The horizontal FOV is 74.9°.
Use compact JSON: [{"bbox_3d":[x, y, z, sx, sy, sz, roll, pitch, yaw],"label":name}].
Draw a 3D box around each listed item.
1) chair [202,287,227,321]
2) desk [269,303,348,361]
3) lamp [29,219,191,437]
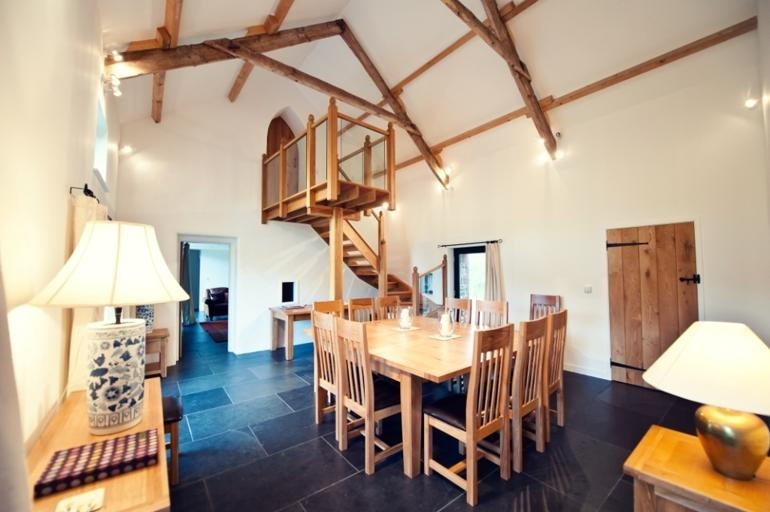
[{"bbox_3d":[-3.877,1.060,11.530,0.631,0.712,0.639,2,-6,-36],"label":"chair"},{"bbox_3d":[-1.056,0.997,6.622,0.970,0.477,0.481,2,-4,-45],"label":"desk"},{"bbox_3d":[-2.281,0.518,4.661,1.435,2.193,1.452,-1,1,-39],"label":"lamp"}]
